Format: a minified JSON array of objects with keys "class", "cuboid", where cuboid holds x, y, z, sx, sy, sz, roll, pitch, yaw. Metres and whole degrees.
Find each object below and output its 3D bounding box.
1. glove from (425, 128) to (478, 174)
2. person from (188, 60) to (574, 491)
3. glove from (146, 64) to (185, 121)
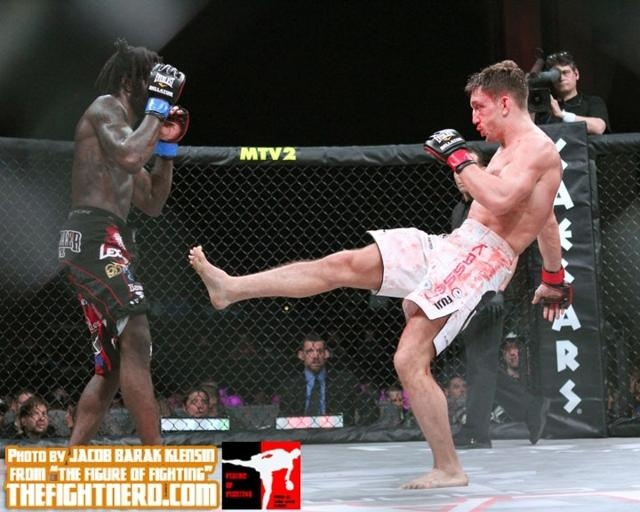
[{"class":"glove","cuboid":[0.566,-0.464,3.216,0.165,0.094,0.219,-35,72,-12]},{"class":"person","cuboid":[0.451,0.034,3.129,1.343,1.562,0.895,-15,23,-27]},{"class":"glove","cuboid":[-0.695,-0.738,3.272,0.156,0.262,0.099,17,-7,2]}]
